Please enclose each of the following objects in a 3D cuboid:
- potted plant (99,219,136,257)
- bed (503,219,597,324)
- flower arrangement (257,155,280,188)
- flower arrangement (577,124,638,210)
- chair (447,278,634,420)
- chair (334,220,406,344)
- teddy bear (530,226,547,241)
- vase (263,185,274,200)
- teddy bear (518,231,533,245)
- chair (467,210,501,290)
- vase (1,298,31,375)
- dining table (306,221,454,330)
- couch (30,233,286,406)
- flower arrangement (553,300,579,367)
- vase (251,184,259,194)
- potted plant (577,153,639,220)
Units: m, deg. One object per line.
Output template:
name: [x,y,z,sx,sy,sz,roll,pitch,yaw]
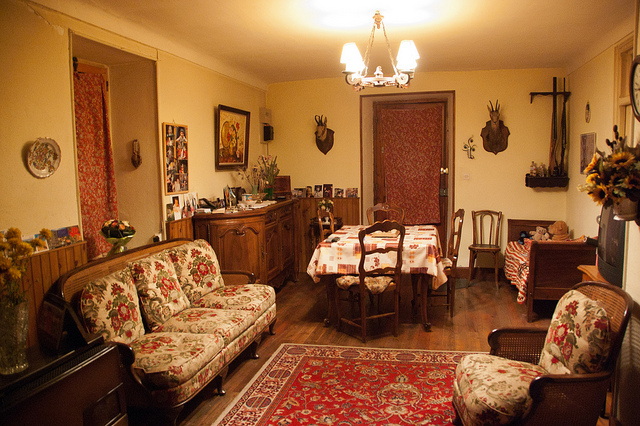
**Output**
potted plant: [-2.123,0.230,4.564,0.355,0.374,0.368,4,5,42]
bed: [3.051,0.680,6.202,1.067,0.869,1.612,0,12,7]
flower arrangement: [-0.829,-0.720,7.381,0.300,0.478,0.256,-8,-8,23]
flower arrangement: [2.203,-0.316,3.348,0.369,0.498,0.186,-2,7,7]
chair: [1.748,1.059,3.862,1.387,1.462,0.998,-1,3,0]
chair: [0.602,0.775,5.345,0.779,1.355,0.841,1,0,35]
teddy bear: [3.275,0.318,6.607,0.111,0.184,0.169,27,-15,-40]
vase: [-0.835,-0.325,7.058,0.162,0.224,0.153,-2,7,9]
teddy bear: [3.182,0.401,6.862,0.200,0.197,0.151,-8,9,-40]
chair: [2.571,0.553,6.937,0.495,1.137,0.607,0,7,22]
vase: [-2.094,0.859,3.036,0.196,0.458,0.113,-8,8,-35]
dining table: [0.752,0.524,5.506,1.327,0.831,1.648,0,5,11]
couch: [-1.404,1.021,4.527,1.231,1.122,2.482,4,7,16]
flower arrangement: [1.905,0.923,3.420,0.158,0.443,0.249,1,8,29]
vase: [-1.014,-0.371,6.852,0.127,0.145,0.130,-1,4,1]
potted plant: [2.230,-0.193,3.381,0.384,0.511,0.179,1,8,28]
